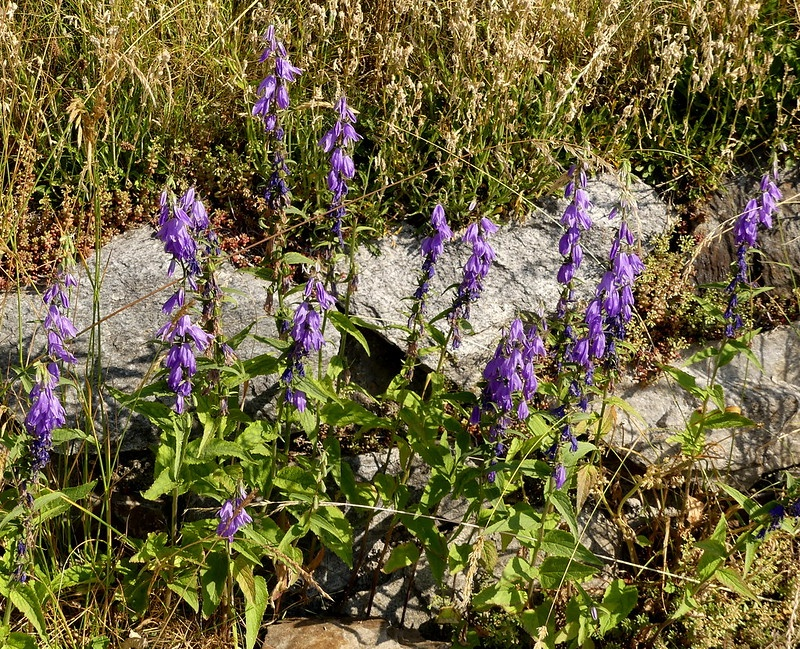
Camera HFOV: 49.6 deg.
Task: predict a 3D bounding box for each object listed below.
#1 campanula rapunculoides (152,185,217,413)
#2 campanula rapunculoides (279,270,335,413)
[{"bbox_3d":[-1.168,-0.186,4.794,0.310,1.193,0.935,0,28,-14],"label":"campanula rapunculoides"},{"bbox_3d":[-0.497,0.157,4.685,0.236,0.900,0.448,5,25,-4],"label":"campanula rapunculoides"}]
